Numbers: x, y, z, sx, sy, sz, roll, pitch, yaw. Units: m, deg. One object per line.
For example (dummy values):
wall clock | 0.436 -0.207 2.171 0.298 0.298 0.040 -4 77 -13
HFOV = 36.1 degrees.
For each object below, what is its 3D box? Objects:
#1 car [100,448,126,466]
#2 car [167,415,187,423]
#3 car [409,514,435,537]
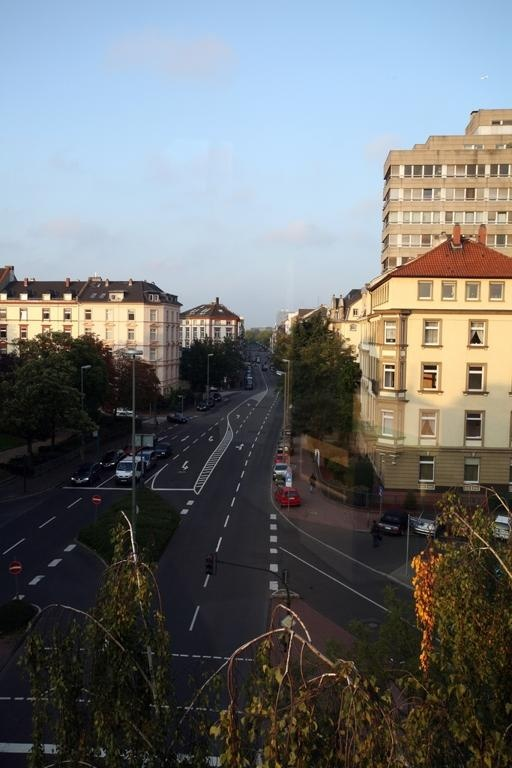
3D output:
car | -9.701 4.927 52.941 0.813 0.868 1.651 -1 -1 4
car | -8.177 3.515 81.355 0.969 0.957 1.766 -1 7 -37
car | 7.382 6.118 34.612 0.894 0.868 3.418 1 3 6
